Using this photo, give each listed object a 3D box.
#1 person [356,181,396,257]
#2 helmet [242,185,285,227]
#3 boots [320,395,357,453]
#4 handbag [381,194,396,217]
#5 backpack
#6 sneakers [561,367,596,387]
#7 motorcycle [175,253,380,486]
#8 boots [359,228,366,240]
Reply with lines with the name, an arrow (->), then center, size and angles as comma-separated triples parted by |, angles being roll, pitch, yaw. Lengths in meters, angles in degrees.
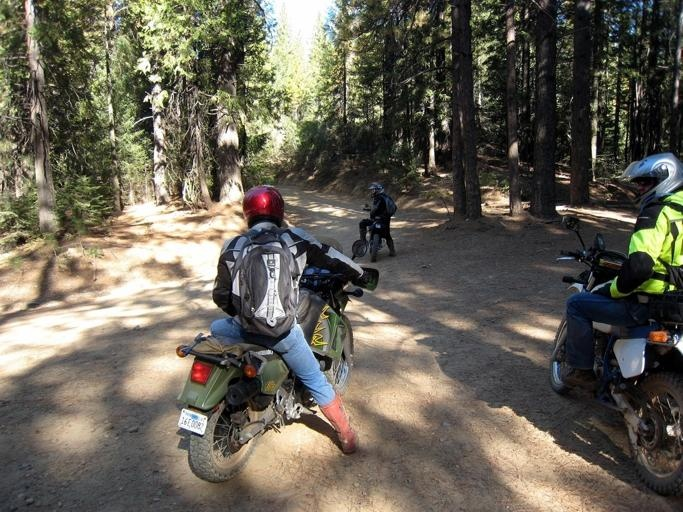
person -> 0.995, -0.770, 15.908 | 1.102, 1.572, 2.275 | 12, 3, -5
helmet -> -0.820, -0.551, 5.353 | 0.327, 0.431, 0.446 | 2, 15, 3
boots -> 0.013, 1.834, 5.303 | 0.290, 0.590, 0.547 | -20, -2, 0
handbag -> 1.450, -1.556, 15.568 | 0.345, 0.725, 1.092 | 1, 15, 6
backpack -> -0.722, 0.285, 4.898 | 0.624, 0.969, 0.435 | -2, 14, -6
sneakers -> 2.756, 1.416, 5.907 | 0.244, 0.092, 0.255 | -1, 7, -23
motorcycle -> -0.719, 1.104, 5.771 | 1.320, 1.927, 2.859 | 6, 22, 31
boots -> 0.672, -0.697, 16.111 | 0.235, 0.389, 0.252 | 1, 1, 5
